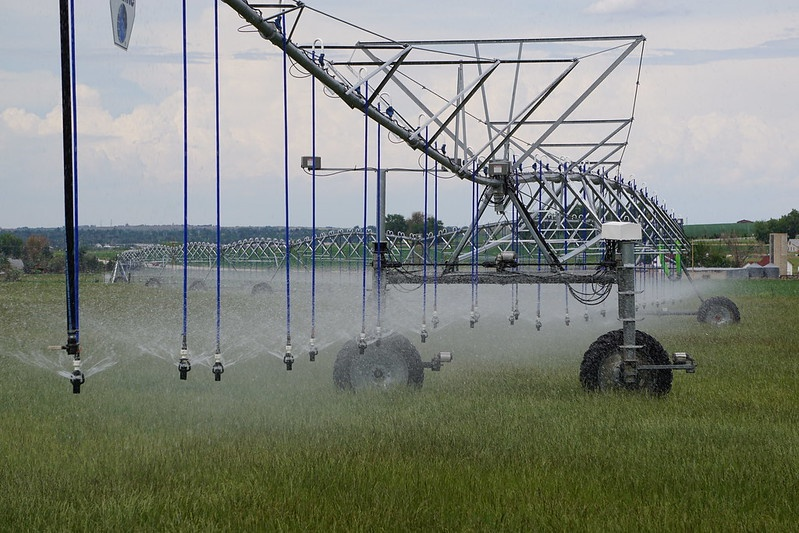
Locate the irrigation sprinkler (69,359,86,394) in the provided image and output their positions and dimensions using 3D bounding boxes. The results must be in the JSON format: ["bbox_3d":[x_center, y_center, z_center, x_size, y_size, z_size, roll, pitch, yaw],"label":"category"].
[{"bbox_3d":[-9.757,3.286,45.104,0.370,1.078,1.331,0,-2,-12],"label":"irrigation sprinkler"}]

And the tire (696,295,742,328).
[{"bbox_3d":[14.446,2.089,67.749,1.261,1.352,0.454,1,-5,13],"label":"tire"}]

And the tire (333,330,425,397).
[{"bbox_3d":[-0.715,3.364,50.638,2.083,2.235,0.702,0,4,1],"label":"tire"}]

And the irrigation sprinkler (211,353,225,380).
[{"bbox_3d":[-5.695,3.100,46.779,0.295,0.923,0.856,0,-2,-4],"label":"irrigation sprinkler"}]
